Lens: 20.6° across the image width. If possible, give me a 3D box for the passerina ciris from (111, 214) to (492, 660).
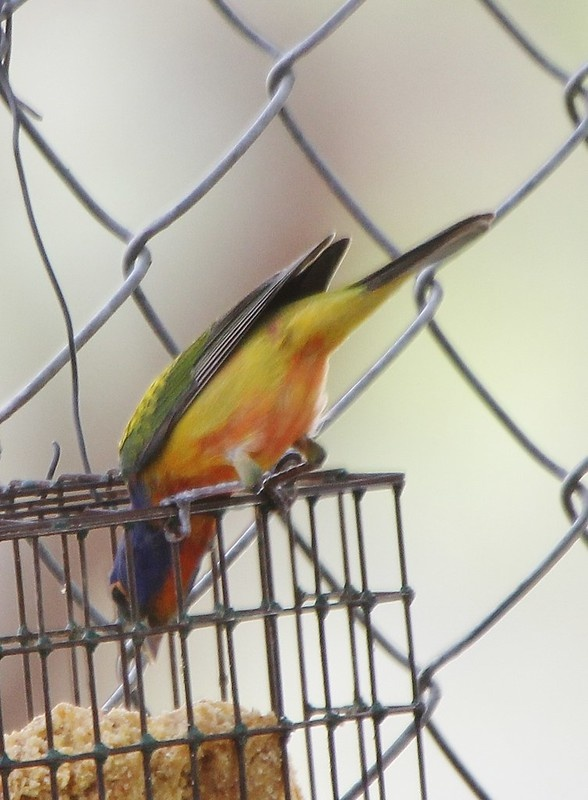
[{"bbox_3d":[-0.021,-0.021,1.843,0.670,0.247,0.200,-50,-27,24],"label":"passerina ciris"}]
